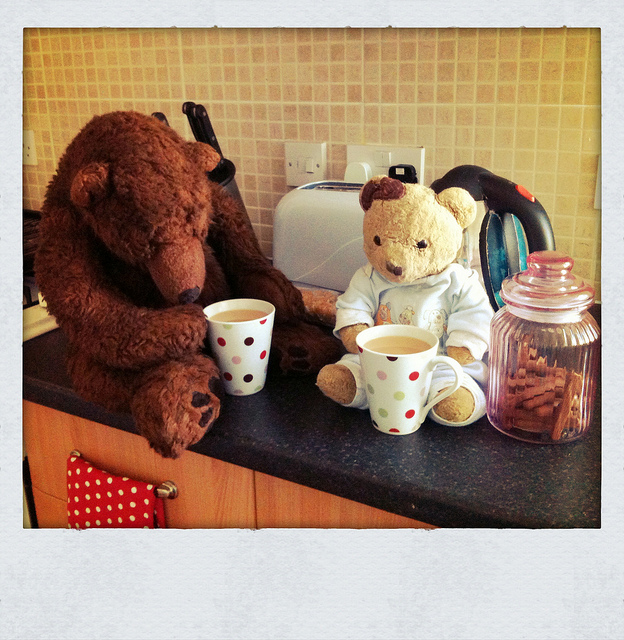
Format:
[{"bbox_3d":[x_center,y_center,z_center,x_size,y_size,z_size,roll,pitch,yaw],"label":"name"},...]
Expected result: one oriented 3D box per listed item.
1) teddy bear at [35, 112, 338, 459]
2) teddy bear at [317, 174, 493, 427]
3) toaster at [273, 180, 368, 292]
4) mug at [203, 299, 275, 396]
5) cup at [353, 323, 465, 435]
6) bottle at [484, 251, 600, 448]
[{"bbox_3d":[-0.132,-0.046,0.639,0.214,0.349,0.266,17,30,38],"label":"teddy bear"},{"bbox_3d":[0.085,-0.002,0.652,0.166,0.275,0.217,11,27,21],"label":"teddy bear"},{"bbox_3d":[0.052,-0.145,0.968,0.219,0.159,0.159,16,26,36],"label":"toaster"},{"bbox_3d":[-0.072,0.025,0.674,0.096,0.100,0.099,1,11,8],"label":"mug"},{"bbox_3d":[0.100,0.053,0.579,0.101,0.091,0.111,9,26,26],"label":"cup"},{"bbox_3d":[0.231,0.021,0.584,0.108,0.174,0.105,-2,19,1],"label":"bottle"}]
